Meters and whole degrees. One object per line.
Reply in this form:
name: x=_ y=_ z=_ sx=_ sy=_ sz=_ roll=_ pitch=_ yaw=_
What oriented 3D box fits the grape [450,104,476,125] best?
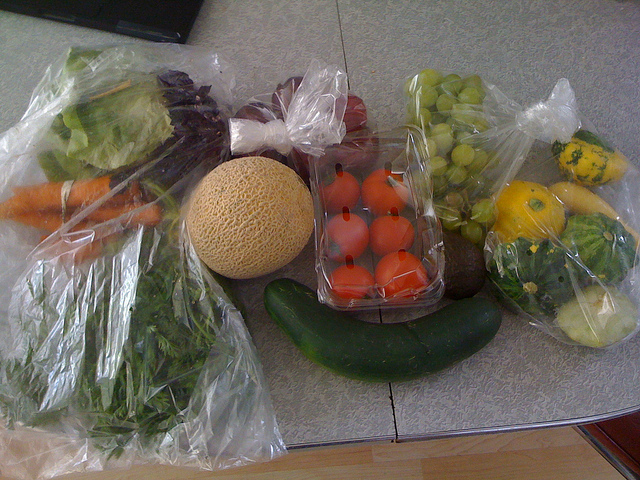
grape: x=0.252 y=-0.224 z=0.980 sx=0.041 sy=0.025 sz=0.032 roll=41 pitch=69 yaw=11

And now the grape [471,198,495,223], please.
grape: x=0.283 y=-0.052 z=0.977 sx=0.033 sy=0.024 sz=0.041 roll=21 pitch=98 yaw=9

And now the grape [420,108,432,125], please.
grape: x=0.185 y=-0.216 z=0.985 sx=0.025 sy=0.029 sz=0.025 roll=-3 pitch=46 yaw=16

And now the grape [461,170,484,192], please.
grape: x=0.275 y=-0.104 z=1.000 sx=0.031 sy=0.039 sz=0.022 roll=0 pitch=73 yaw=2

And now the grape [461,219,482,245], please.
grape: x=0.266 y=-0.015 z=0.994 sx=0.034 sy=0.024 sz=0.043 roll=-9 pitch=80 yaw=0

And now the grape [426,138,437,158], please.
grape: x=0.192 y=-0.159 z=0.966 sx=0.026 sy=0.031 sz=0.027 roll=-4 pitch=37 yaw=15

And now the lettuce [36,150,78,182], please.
lettuce: x=-0.429 y=-0.120 z=0.936 sx=0.051 sy=0.021 sz=0.062 roll=-38 pitch=93 yaw=10

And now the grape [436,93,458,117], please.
grape: x=0.220 y=-0.240 z=0.986 sx=0.037 sy=0.036 sz=0.043 roll=0 pitch=49 yaw=-3

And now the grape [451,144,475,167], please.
grape: x=0.245 y=-0.145 z=0.969 sx=0.033 sy=0.023 sz=0.039 roll=18 pitch=92 yaw=-2

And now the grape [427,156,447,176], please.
grape: x=0.200 y=-0.131 z=0.988 sx=0.037 sy=0.028 sz=0.028 roll=-14 pitch=25 yaw=1

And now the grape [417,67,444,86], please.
grape: x=0.204 y=-0.303 z=1.014 sx=0.038 sy=0.047 sz=0.026 roll=2 pitch=62 yaw=-1

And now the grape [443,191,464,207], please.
grape: x=0.237 y=-0.072 z=0.999 sx=0.026 sy=0.014 sz=0.026 roll=-8 pitch=89 yaw=7

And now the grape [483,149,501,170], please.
grape: x=0.304 y=-0.143 z=0.995 sx=0.028 sy=0.019 sz=0.034 roll=14 pitch=85 yaw=6

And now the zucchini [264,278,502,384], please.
zucchini: x=0.100 y=0.157 z=0.975 sx=0.422 sy=0.105 sz=0.185 roll=5 pitch=59 yaw=6

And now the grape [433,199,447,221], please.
grape: x=0.212 y=-0.052 z=1.007 sx=0.026 sy=0.018 sz=0.032 roll=23 pitch=72 yaw=-10

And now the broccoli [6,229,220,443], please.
broccoli: x=-0.331 y=0.130 z=0.878 sx=0.293 sy=0.080 sz=0.304 roll=-22 pitch=85 yaw=-7

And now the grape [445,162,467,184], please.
grape: x=0.237 y=-0.115 z=0.979 sx=0.032 sy=0.038 sz=0.032 roll=-1 pitch=48 yaw=20

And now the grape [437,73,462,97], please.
grape: x=0.233 y=-0.274 z=0.998 sx=0.050 sy=0.028 sz=0.026 roll=-40 pitch=24 yaw=-4

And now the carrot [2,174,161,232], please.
carrot: x=-0.409 y=-0.057 z=0.970 sx=0.255 sy=0.073 sz=0.098 roll=-5 pitch=74 yaw=-1

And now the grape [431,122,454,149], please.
grape: x=0.212 y=-0.180 z=0.972 sx=0.038 sy=0.040 sz=0.044 roll=3 pitch=107 yaw=6

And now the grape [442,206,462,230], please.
grape: x=0.234 y=-0.039 z=0.994 sx=0.031 sy=0.022 sz=0.039 roll=8 pitch=86 yaw=-5

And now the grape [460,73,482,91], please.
grape: x=0.273 y=-0.287 z=1.009 sx=0.028 sy=0.019 sz=0.034 roll=6 pitch=47 yaw=13
